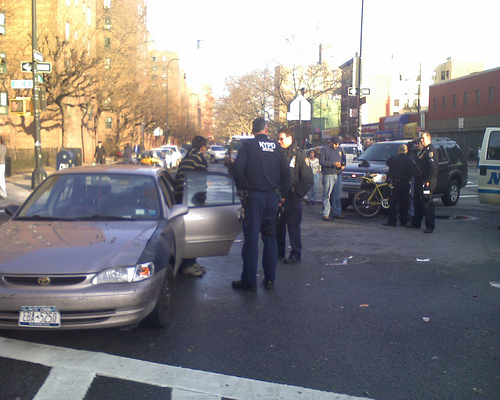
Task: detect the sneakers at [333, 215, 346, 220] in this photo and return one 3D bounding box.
[{"bbox_3d":[2.532,0.495,13.039,0.338,0.175,0.127,-1,6,-3],"label":"sneakers"}]

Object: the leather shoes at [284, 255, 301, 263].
[{"bbox_3d":[0.746,1.033,8.068,0.282,0.133,0.108,3,-1,-32],"label":"leather shoes"}]

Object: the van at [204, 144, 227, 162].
[{"bbox_3d":[-4.140,-5.455,54.524,1.833,1.830,3.635,-1,0,-9],"label":"van"}]

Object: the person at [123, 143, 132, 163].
[{"bbox_3d":[-9.903,-3.680,37.110,0.669,1.483,2.660,-1,6,-15],"label":"person"}]

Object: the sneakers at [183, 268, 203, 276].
[{"bbox_3d":[-0.914,1.127,7.293,0.266,0.137,0.136,2,13,15],"label":"sneakers"}]

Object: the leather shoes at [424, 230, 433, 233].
[{"bbox_3d":[4.167,0.726,10.740,0.129,0.066,0.079,-4,3,26],"label":"leather shoes"}]

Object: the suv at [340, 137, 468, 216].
[{"bbox_3d":[4.968,-0.775,15.265,4.525,2.212,2.110,0,1,-39],"label":"suv"}]

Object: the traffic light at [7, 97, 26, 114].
[{"bbox_3d":[-8.065,-3.242,15.970,0.483,0.535,0.447,-3,6,-31],"label":"traffic light"}]

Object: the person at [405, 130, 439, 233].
[{"bbox_3d":[4.210,-0.432,11.038,0.506,2.352,0.971,1,5,11],"label":"person"}]

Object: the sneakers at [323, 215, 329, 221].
[{"bbox_3d":[2.088,0.487,12.737,0.108,0.140,0.302,-1,-4,0],"label":"sneakers"}]

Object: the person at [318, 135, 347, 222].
[{"bbox_3d":[2.291,-0.598,12.897,0.800,2.264,0.460,-3,6,-33],"label":"person"}]
